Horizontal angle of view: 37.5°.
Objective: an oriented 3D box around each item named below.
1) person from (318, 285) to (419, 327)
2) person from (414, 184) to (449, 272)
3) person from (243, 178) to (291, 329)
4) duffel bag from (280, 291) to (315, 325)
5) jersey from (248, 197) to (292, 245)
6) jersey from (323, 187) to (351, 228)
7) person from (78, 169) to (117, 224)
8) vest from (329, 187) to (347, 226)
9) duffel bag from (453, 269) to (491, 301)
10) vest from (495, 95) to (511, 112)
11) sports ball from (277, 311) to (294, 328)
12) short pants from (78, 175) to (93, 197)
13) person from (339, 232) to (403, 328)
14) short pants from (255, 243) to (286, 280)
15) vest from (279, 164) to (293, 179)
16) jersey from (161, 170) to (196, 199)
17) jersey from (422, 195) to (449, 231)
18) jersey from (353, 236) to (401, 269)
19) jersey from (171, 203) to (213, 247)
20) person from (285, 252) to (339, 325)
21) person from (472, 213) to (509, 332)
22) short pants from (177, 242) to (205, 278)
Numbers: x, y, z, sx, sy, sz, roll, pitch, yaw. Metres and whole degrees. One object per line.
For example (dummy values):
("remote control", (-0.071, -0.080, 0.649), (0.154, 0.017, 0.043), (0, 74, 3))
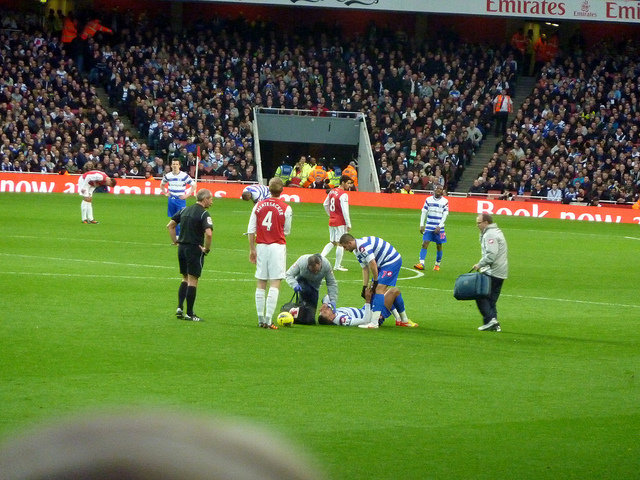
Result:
("person", (0.749, 1.269, 16.536), (1.393, 0.651, 0.754), (-4, 3, -7))
("person", (2.898, -0.330, 24.347), (0.697, 2.066, 1.462), (4, 6, 6))
("person", (-0.884, 0.211, 15.834), (0.690, 2.495, 0.610), (3, 6, -8))
("duffel bag", (-0.382, 1.214, 16.538), (0.499, 0.499, 0.255), (3, -7, -9))
("jersey", (-0.845, -0.319, 15.771), (0.671, 0.781, 0.371), (4, 6, 1))
("jersey", (0.437, -0.821, 23.208), (0.398, 0.974, 0.840), (-2, 8, -40))
("person", (-7.179, -1.388, 29.845), (0.887, 1.609, 1.510), (2, 7, -16))
("vest", (0.436, -0.815, 23.152), (0.324, 0.903, 0.711), (-10, 16, -28))
("duffel bag", (2.725, 0.762, 16.937), (0.700, 0.719, 0.390), (-12, -26, 37))
("vest", (9.179, -6.855, 46.874), (0.693, 0.901, 0.737), (-10, 16, -41))
("sports ball", (-0.588, 1.358, 16.078), (0.243, 0.245, 0.289), (31, 36, -12))
("short pants", (-7.356, -1.675, 29.378), (0.279, 0.613, 0.782), (2, 7, -18))
("person", (0.844, 0.717, 16.359), (1.114, 1.657, 0.421), (-1, 7, -34))
("short pants", (-0.850, 0.444, 15.773), (0.515, 0.421, 0.762), (-2, 48, 3))
("vest", (-1.631, -3.261, 44.997), (0.499, 0.660, 0.793), (4, 6, 3))
("jersey", (-3.833, -1.480, 25.297), (0.738, 0.713, 0.536), (3, 6, -5))
("jersey", (2.985, -0.700, 24.470), (0.601, 0.900, 0.544), (4, 6, 6))
("jersey", (1.075, 0.302, 16.514), (0.796, 0.624, 0.661), (18, 7, 42))
("jersey", (-2.184, -0.273, 16.096), (0.803, 0.724, 0.352), (11, -1, 27))
("person", (-0.187, 0.826, 16.489), (0.833, 1.279, 0.921), (8, 7, 32))
("person", (3.065, 0.571, 16.939), (0.604, 2.030, 1.065), (4, 6, 10))
("short pants", (-2.202, 0.323, 15.947), (0.486, 0.559, 0.226), (7, 7, 28))
